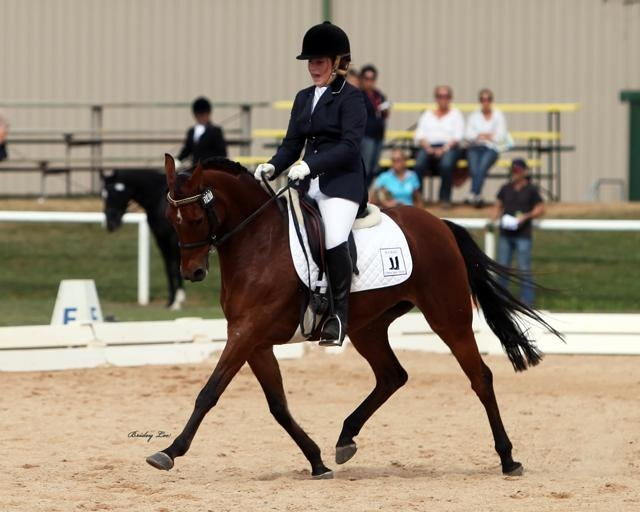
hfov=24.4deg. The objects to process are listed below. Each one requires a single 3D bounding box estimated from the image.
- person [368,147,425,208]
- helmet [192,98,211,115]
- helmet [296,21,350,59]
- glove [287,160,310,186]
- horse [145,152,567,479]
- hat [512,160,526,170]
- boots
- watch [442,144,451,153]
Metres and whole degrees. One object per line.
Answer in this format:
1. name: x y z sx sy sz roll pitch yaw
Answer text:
1. person: 0.873 -0.819 16.532 0.741 0.967 0.516 0 4 4
2. helmet: -1.371 -1.725 17.074 0.179 0.157 0.187 -1 3 -17
3. helmet: 0.026 -1.728 11.991 0.355 0.255 0.287 3 0 -35
4. glove: -0.148 -0.652 11.897 0.150 0.196 0.078 49 10 37
5. horse: 0.254 0.597 12.240 3.298 2.785 0.900 1 -6 -22
6. hat: 2.122 -0.983 15.823 0.128 0.119 0.096 14 -18 -39
7. boots: 0.164 0.279 11.905 0.265 0.836 0.202 6 4 25
8. watch: 1.393 -1.196 16.348 0.104 0.029 0.078 -25 15 38
